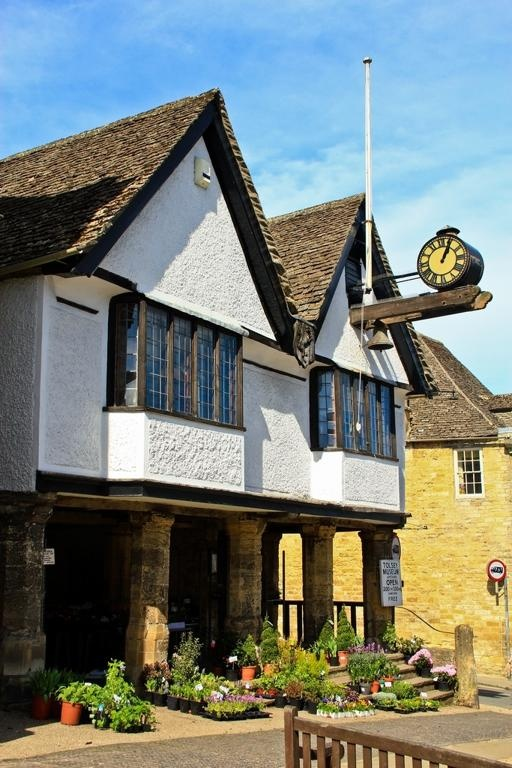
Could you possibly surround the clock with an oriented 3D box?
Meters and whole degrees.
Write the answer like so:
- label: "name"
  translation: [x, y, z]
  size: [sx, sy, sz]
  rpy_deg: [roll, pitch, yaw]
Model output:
- label: "clock"
  translation: [3.597, -2.377, 16.126]
  size: [1.060, 1.068, 0.495]
  rpy_deg: [-4, -11, 15]
